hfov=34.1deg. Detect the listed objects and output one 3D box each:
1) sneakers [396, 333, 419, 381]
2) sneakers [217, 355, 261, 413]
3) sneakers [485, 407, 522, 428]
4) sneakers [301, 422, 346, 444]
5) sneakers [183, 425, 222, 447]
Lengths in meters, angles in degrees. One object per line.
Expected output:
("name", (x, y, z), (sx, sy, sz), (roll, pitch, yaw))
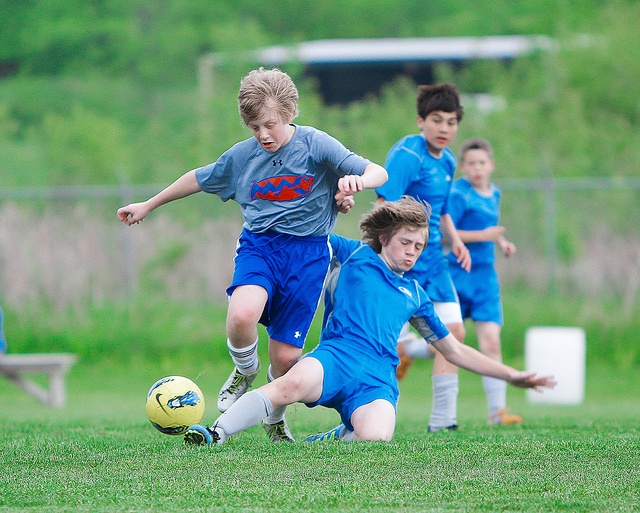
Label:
("sneakers", (0.758, 0.906, 9.547), (0.122, 0.364, 0.272), (10, -4, -12))
("sneakers", (-0.656, 1.011, 8.119), (0.191, 0.558, 0.219), (35, 1, 6))
("sneakers", (1.576, 1.390, 8.946), (0.332, 0.146, 0.121), (-4, -6, 25))
("sneakers", (0.018, 1.321, 7.780), (0.346, 0.140, 0.121), (-5, -17, 22))
("sneakers", (-0.831, 1.249, 7.335), (0.253, 0.135, 0.127), (-1, 3, -9))
